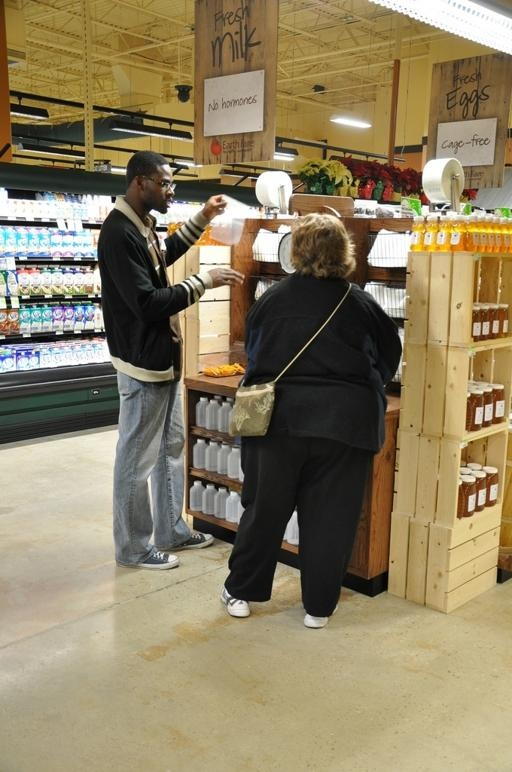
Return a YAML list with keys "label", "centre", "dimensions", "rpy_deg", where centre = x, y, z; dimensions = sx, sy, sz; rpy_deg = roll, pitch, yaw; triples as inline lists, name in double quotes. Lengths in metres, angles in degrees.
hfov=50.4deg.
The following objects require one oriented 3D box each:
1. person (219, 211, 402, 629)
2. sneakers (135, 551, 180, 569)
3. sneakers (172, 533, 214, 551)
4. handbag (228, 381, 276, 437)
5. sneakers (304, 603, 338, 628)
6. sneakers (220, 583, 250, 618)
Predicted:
- label: "person"
  centre: [0.227, 0.159, 2.070]
  dimensions: [0.628, 1.453, 0.405]
  rpy_deg: [1, 0, 1]
- label: "sneakers"
  centre: [-0.507, 0.908, 2.817]
  dimensions: [0.186, 0.078, 0.093]
  rpy_deg: [-1, 3, -2]
- label: "sneakers"
  centre: [-0.366, 0.898, 3.162]
  dimensions: [0.217, 0.090, 0.089]
  rpy_deg: [-19, 18, -14]
- label: "handbag"
  centre: [-0.009, 0.085, 2.005]
  dimensions: [0.056, 0.268, 0.257]
  rpy_deg: [18, -13, -37]
- label: "sneakers"
  centre: [0.273, 0.968, 2.294]
  dimensions: [0.061, 0.072, 0.167]
  rpy_deg: [-3, -6, 34]
- label: "sneakers"
  centre: [-0.083, 0.948, 2.385]
  dimensions: [0.063, 0.071, 0.172]
  rpy_deg: [2, -3, -19]
